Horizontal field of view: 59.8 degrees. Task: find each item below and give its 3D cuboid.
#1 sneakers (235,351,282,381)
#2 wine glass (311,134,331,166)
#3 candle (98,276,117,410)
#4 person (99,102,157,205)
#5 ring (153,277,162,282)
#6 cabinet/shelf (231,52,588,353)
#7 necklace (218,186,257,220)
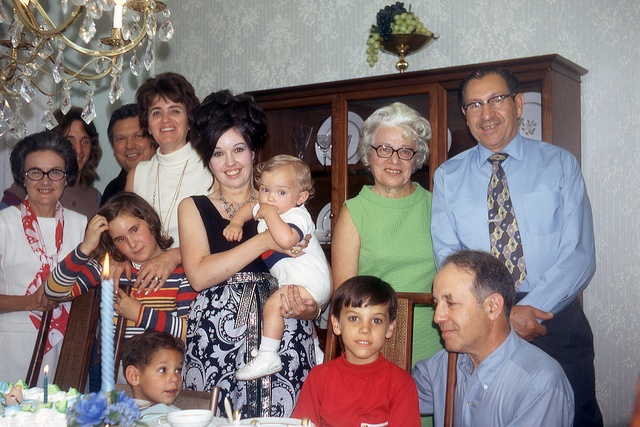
[{"bbox_3d":[-0.267,0.694,2.651,0.242,0.117,0.086,-8,21,-30],"label":"sneakers"},{"bbox_3d":[0.038,-0.447,4.007,0.172,0.231,0.188,0,-14,1],"label":"wine glass"},{"bbox_3d":[-0.672,0.413,1.767,0.048,0.389,0.227,4,-11,-16],"label":"candle"},{"bbox_3d":[-1.497,-0.507,4.489,0.344,0.731,0.335,-14,21,-27],"label":"person"},{"bbox_3d":[-0.875,0.359,3.033,0.032,0.025,0.048,0,-11,5],"label":"ring"},{"bbox_3d":[0.561,-0.038,3.077,1.873,1.901,0.535,-2,-8,25],"label":"cabinet/shelf"},{"bbox_3d":[-0.432,-0.047,2.926,0.136,0.127,0.169,1,-13,-8],"label":"necklace"}]
